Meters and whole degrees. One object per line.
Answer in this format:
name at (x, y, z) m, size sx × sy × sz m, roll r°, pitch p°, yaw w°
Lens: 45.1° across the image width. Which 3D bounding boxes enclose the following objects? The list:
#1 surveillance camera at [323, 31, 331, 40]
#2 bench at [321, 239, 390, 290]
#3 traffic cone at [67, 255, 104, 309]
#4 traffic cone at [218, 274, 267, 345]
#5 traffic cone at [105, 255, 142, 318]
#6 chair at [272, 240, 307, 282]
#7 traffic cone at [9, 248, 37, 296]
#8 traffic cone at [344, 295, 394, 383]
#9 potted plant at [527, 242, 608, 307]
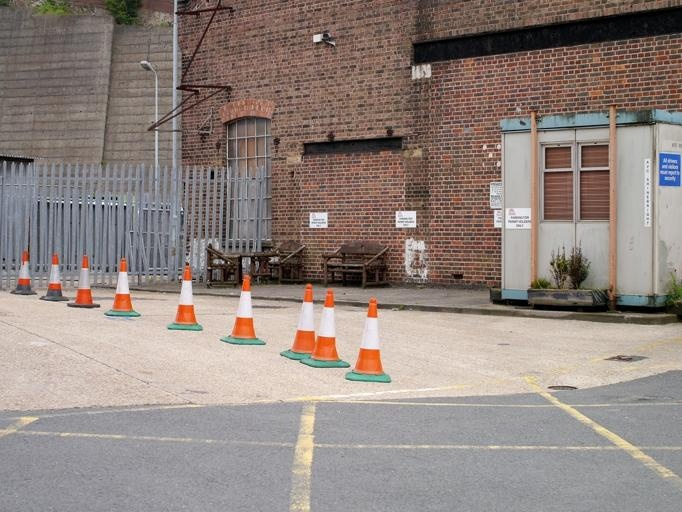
surveillance camera at (-0.425, -6.823, 25.504) m, size 0.319 × 0.247 × 0.117 m, roll 5°, pitch 6°, yaw 33°
bench at (0.414, 0.280, 24.301) m, size 0.950 × 1.387 × 1.914 m, roll 1°, pitch 0°, yaw -43°
traffic cone at (-5.249, 0.514, 16.835) m, size 0.727 × 1.022 × 0.722 m, roll 1°, pitch 0°, yaw -24°
traffic cone at (-1.523, 0.841, 13.031) m, size 0.819 × 1.009 × 0.841 m, roll 2°, pitch 2°, yaw -38°
traffic cone at (-4.115, 0.575, 15.552) m, size 0.907 × 1.045 × 0.939 m, roll 3°, pitch 4°, yaw 12°
chair at (-1.578, 0.171, 25.641) m, size 0.977 × 1.417 × 1.192 m, roll 0°, pitch -2°, yaw 10°
traffic cone at (-7.571, 0.395, 19.525) m, size 0.768 × 0.962 × 0.782 m, roll 5°, pitch -1°, yaw 3°
traffic cone at (0.369, 1.092, 10.956) m, size 0.706 × 1.070 × 0.731 m, roll 5°, pitch -2°, yaw -9°
potted plant at (4.705, 0.461, 16.913) m, size 1.571 × 1.317 × 0.557 m, roll 4°, pitch 6°, yaw 28°
